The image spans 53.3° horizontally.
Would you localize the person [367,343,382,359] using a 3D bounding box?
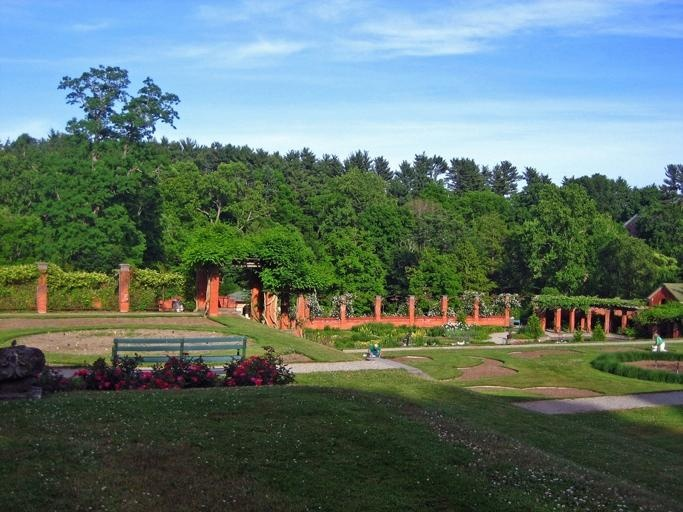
[{"bbox_3d":[1.621,4.657,33.138,0.704,0.568,1.130,2,1,-6],"label":"person"}]
